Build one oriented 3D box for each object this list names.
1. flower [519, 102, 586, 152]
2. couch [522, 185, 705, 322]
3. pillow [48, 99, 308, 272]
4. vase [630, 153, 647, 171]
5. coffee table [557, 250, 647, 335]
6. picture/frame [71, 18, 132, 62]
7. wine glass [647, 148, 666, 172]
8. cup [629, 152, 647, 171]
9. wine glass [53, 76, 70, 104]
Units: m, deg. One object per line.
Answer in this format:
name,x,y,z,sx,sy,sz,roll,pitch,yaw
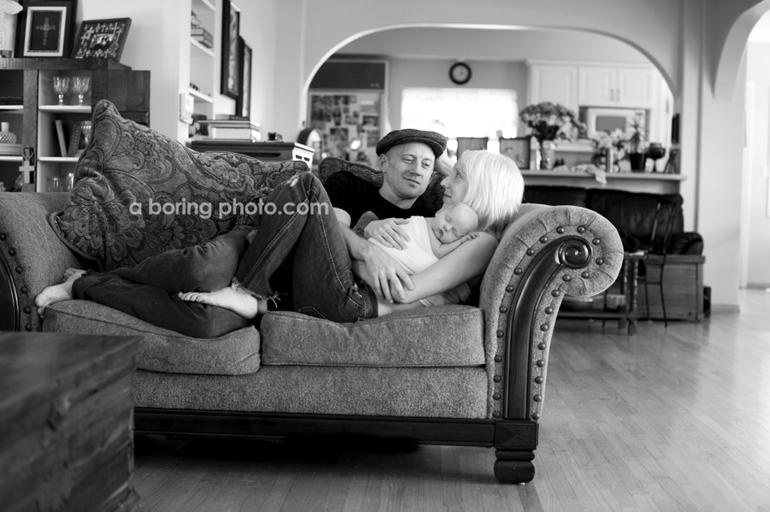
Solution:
flower,1.889,-1.440,7.082,0.505,0.449,0.928,6,8,38
couch,2.120,-0.054,5.965,1.879,1.525,1.191,0,-4,6
pillow,-1.007,-0.286,3.054,0.969,0.861,0.292,6,-23,-32
vase,2.638,-0.981,6.698,0.182,0.158,0.174,1,2,28
coffee table,1.845,0.313,5.480,0.759,0.636,0.777,1,1,16
picture/frame,-2.139,-1.608,4.772,0.465,0.354,0.261,3,7,21
wine glass,2.862,-1.030,6.716,0.144,0.297,0.282,7,9,43
cup,2.644,-0.992,6.686,0.193,0.194,0.087,-1,7,-17
wine glass,-2.419,-1.256,4.807,0.125,0.192,0.131,29,28,28
